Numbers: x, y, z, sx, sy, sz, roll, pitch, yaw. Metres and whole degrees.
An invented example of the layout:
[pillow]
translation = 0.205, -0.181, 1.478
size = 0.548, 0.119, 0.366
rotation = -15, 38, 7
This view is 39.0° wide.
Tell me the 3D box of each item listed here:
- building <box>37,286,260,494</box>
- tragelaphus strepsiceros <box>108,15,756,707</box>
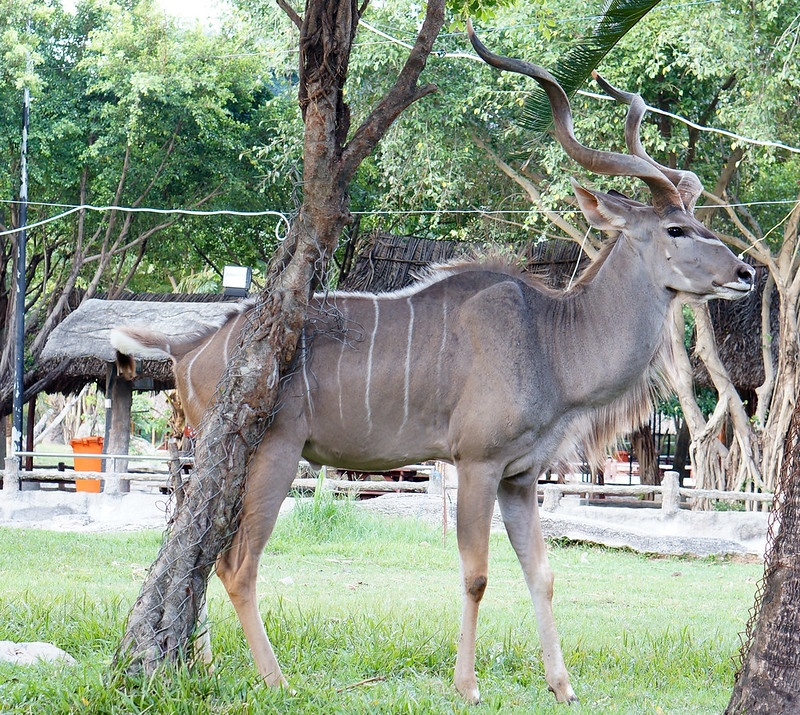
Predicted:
[building]
translation = -4.658, 0.047, 18.011
size = 2.858, 1.505, 4.485
rotation = 13, -47, -24
[tragelaphus strepsiceros]
translation = 0.327, 0.272, 7.838
size = 4.098, 4.713, 2.256
rotation = -2, -15, 12
